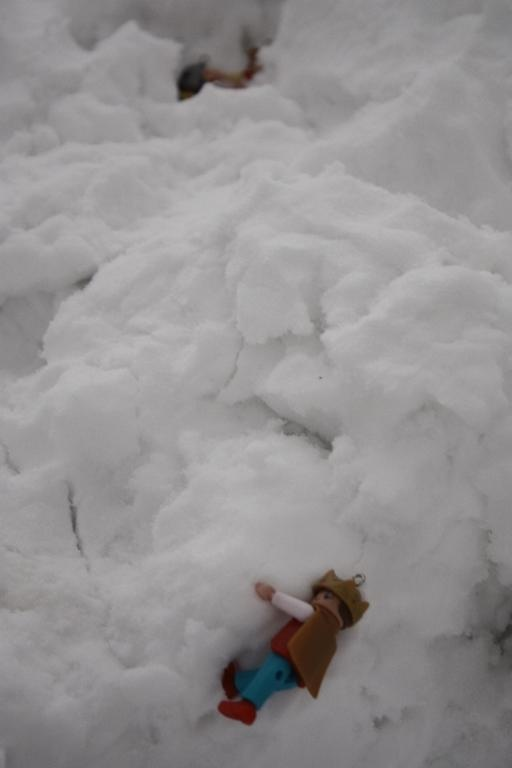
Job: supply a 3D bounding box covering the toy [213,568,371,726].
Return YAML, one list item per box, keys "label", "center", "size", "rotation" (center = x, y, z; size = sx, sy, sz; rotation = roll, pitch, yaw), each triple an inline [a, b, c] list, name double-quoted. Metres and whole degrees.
- label: "toy"
  center: [0.109, 0.937, 3.159]
  size: [0.351, 0.202, 0.463]
  rotation: [45, 77, -3]
